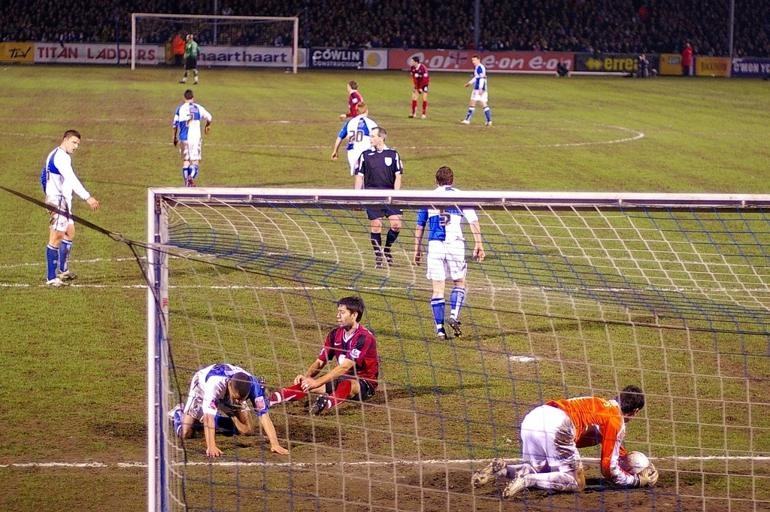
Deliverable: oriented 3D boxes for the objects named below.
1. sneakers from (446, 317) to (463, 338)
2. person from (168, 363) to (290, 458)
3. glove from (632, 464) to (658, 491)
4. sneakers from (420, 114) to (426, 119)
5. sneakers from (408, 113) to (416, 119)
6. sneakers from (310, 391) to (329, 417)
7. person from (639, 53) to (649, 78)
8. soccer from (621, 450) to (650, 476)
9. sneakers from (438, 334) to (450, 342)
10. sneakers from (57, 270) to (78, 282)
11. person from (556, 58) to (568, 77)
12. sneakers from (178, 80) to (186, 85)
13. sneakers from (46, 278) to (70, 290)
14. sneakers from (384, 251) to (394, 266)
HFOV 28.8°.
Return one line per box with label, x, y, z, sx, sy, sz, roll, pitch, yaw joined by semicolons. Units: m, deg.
sneakers;1.408;1.423;29.436;0.180;0.454;0.243;-27;12;39
person;-2.877;2.687;27.041;1.372;1.120;2.315;-5;19;-28
glove;4.664;3.878;26.652;0.438;0.392;0.323;-29;15;-3
sneakers;1.197;-4.299;45.910;0.128;0.106;0.121;1;-1;6
sneakers;0.865;-4.321;45.804;0.288;0.173;0.093;2;19;-2
sneakers;-1.167;2.687;27.508;0.185;0.502;0.237;51;14;27
person;11.335;-8.294;64.984;0.475;1.009;2.008;2;6;10
soccer;4.456;3.638;26.653;0.431;0.358;0.326;-27;15;13
sneakers;1.155;1.587;29.341;0.157;0.117;0.278;0;-3;5
sneakers;-6.701;0.390;31.439;0.461;0.186;0.157;-7;15;-24
person;7.690;-8.169;64.348;0.556;0.312;0.723;5;43;4
sneakers;-7.316;-6.290;53.924;0.231;0.113;0.243;-24;-37;32
sneakers;-6.844;0.554;31.179;0.403;0.156;0.210;5;-2;-40
sneakers;0.096;0.037;30.741;0.176;0.234;0.251;-5;5;4
